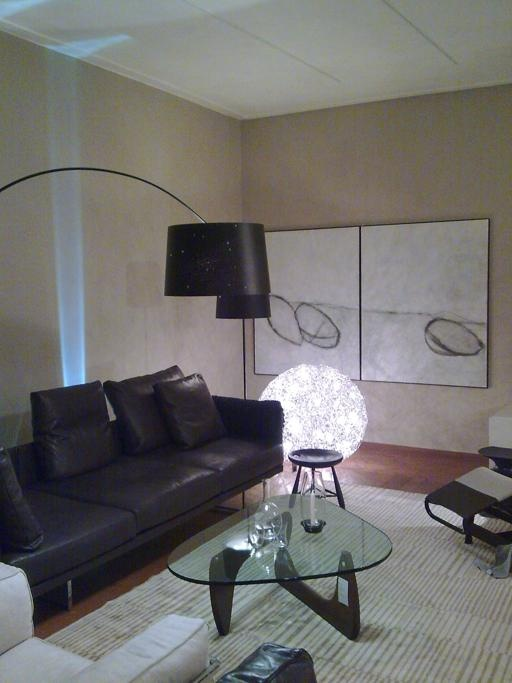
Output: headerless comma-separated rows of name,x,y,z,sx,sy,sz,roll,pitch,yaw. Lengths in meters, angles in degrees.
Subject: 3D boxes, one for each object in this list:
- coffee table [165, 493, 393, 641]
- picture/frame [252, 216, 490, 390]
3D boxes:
coffee table,0.113,0.835,2.160,0.509,0.234,0.639,4,13,25
picture/frame,1.107,-0.361,4.849,1.684,1.089,0.055,1,3,27
